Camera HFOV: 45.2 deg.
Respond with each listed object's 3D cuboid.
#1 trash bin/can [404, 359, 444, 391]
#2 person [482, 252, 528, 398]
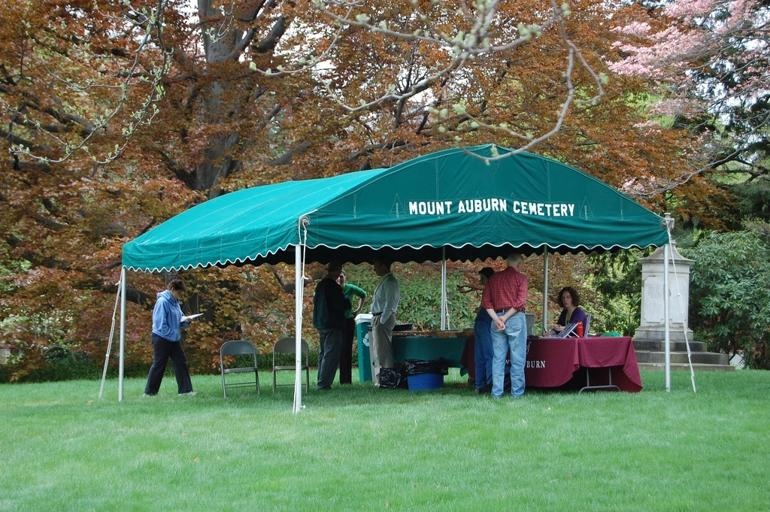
[{"bbox_3d":[0.786,2.558,19.924,0.682,0.415,0.668,8,-14,-44],"label":"trash bin/can"},{"bbox_3d":[2.344,1.395,17.996,0.811,2.743,0.837,-2,11,-1],"label":"person"}]
